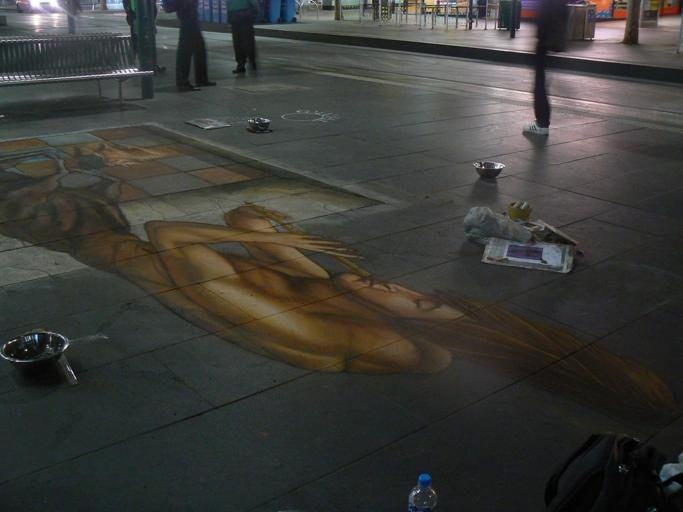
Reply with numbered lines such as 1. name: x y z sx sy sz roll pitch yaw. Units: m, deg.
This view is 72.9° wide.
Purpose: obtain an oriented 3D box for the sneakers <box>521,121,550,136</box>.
1. sneakers: 3.579 -2.327 8.496 0.218 0.201 0.574 -26 32 -37

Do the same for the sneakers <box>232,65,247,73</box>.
1. sneakers: -3.202 -5.775 14.305 0.513 0.225 0.247 14 26 28

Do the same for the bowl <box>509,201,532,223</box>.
1. bowl: 1.923 -0.478 5.070 0.346 0.214 0.222 -1 18 3
